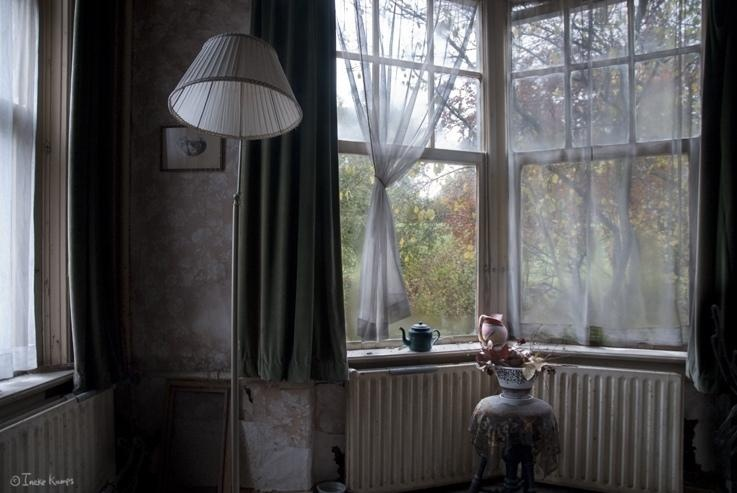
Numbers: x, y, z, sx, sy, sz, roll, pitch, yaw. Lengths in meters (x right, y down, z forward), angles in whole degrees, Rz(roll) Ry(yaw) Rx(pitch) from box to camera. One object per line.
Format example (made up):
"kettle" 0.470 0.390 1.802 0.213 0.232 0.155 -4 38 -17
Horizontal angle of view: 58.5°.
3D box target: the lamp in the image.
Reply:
"lamp" -0.822 0.193 3.866 0.697 2.751 0.752 -1 1 -30

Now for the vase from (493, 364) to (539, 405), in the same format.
"vase" 0.997 0.885 4.289 0.262 0.234 0.277 0 -14 -5

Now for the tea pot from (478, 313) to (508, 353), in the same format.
"tea pot" 0.830 0.570 4.436 0.194 0.242 0.182 -2 11 0

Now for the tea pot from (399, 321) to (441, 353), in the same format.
"tea pot" 0.364 0.643 4.663 0.274 0.207 0.180 0 -2 -1
